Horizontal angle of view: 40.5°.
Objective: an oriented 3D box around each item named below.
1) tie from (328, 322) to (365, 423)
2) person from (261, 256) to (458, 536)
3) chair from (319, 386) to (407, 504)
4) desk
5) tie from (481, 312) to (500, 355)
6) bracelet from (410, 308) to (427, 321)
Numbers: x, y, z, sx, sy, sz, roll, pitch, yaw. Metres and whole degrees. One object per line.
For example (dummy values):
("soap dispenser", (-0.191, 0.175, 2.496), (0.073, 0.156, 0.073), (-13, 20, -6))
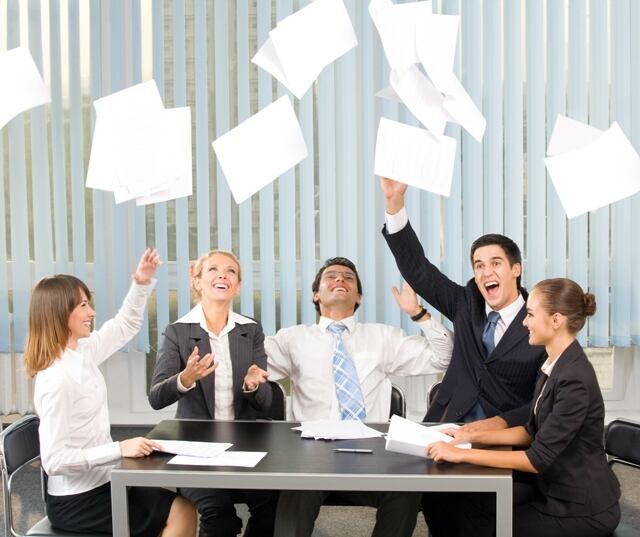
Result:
("tie", (0.122, 0.471, 4.097), (0.138, 0.046, 0.567), (4, 45, -10))
("person", (0.176, 0.574, 3.885), (0.771, 0.536, 1.327), (7, 42, -6))
("chair", (0.235, 0.792, 3.925), (0.280, 0.274, 0.506), (0, 8, 2))
("desk", (-0.021, 0.786, 3.217), (1.435, 0.396, 0.600), (-3, -3, 17))
("tie", (0.785, 0.277, 3.986), (0.073, 0.072, 0.252), (11, 27, 15))
("bracelet", (0.478, 0.222, 4.135), (0.045, 0.036, 0.061), (-12, -1, -30))
